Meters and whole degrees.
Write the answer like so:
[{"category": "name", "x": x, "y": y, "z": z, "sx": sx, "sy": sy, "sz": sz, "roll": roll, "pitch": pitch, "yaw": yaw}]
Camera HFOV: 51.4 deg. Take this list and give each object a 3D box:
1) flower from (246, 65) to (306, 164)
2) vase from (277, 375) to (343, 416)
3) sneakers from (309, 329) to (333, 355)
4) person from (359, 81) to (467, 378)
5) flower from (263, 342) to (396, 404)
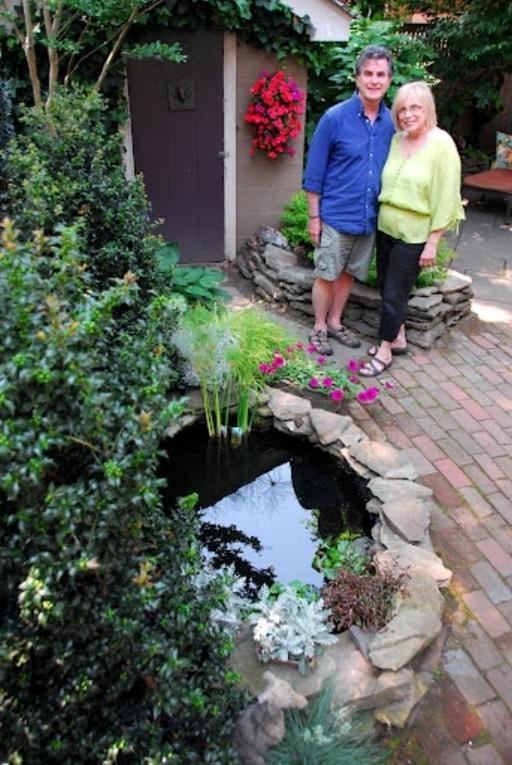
[{"category": "flower", "x": 0.184, "y": -2.653, "z": 5.314, "sx": 0.616, "sy": 0.814, "sz": 0.433, "roll": -1, "pitch": 27, "yaw": -14}, {"category": "vase", "x": 0.314, "y": 0.096, "z": 3.459, "sx": 0.451, "sy": 0.081, "sz": 0.146, "roll": 18, "pitch": 29, "yaw": 19}, {"category": "sneakers", "x": 0.481, "y": -0.292, "z": 4.057, "sx": 0.110, "sy": 0.117, "sz": 0.288, "roll": -1, "pitch": 26, "yaw": -10}, {"category": "person", "x": 1.021, "y": -0.924, "z": 3.537, "sx": 0.550, "sy": 1.855, "sz": 0.425, "roll": 11, "pitch": 27, "yaw": 10}, {"category": "flower", "x": 0.434, "y": -0.148, "z": 3.521, "sx": 0.689, "sy": 0.155, "sz": 0.472, "roll": 15, "pitch": 35, "yaw": -7}]
